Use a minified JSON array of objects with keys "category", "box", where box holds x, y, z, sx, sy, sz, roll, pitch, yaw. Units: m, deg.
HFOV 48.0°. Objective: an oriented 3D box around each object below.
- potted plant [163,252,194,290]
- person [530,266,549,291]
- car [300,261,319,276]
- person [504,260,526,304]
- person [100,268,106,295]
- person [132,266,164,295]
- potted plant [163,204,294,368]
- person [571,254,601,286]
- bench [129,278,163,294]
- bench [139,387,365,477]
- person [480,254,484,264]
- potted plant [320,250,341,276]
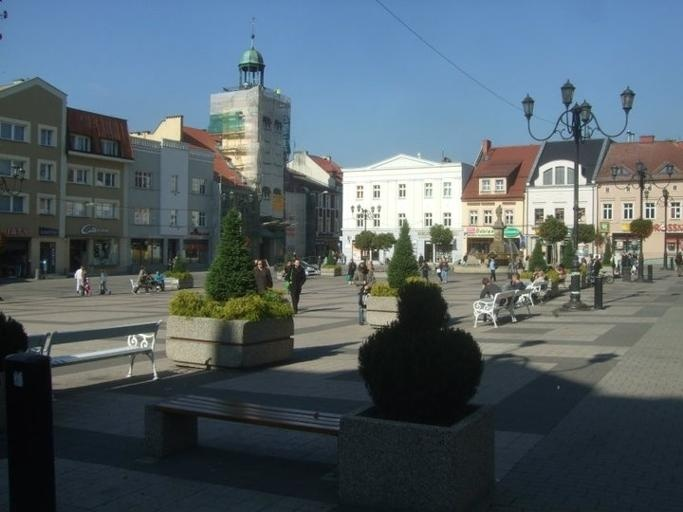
[{"category":"potted plant","box":[-10.114,0.848,46.976,1.046,1.690,1.596,1,5,18]},{"category":"person","box":[6.427,0.590,25.324,0.709,1.101,0.371,-3,-10,7]},{"category":"car","box":[-2.275,0.916,53.855,1.122,0.934,2.576,0,-3,-7]},{"category":"person","box":[6.758,0.944,30.467,0.810,1.536,0.595,17,-18,-38]},{"category":"person","box":[-10.614,1.182,34.277,0.323,1.073,1.666,-1,5,-18]},{"category":"person","box":[-9.329,1.120,36.070,1.796,1.195,1.296,0,2,-3]},{"category":"potted plant","box":[-2.041,0.603,13.861,1.773,2.782,1.629,4,-2,17]},{"category":"person","box":[10.417,0.631,33.107,1.335,0.886,2.017,-1,-1,0]},{"category":"bench","box":[-9.242,1.450,35.997,1.633,1.079,0.764,0,0,-1]},{"category":"bench","box":[-1.238,1.991,8.674,2.065,0.574,0.630,2,4,18]},{"category":"person","box":[11.161,0.257,62.102,0.360,0.627,1.147,-2,-7,4]},{"category":"potted plant","box":[-1.159,0.583,66.015,1.478,2.377,1.657,0,4,20]}]
